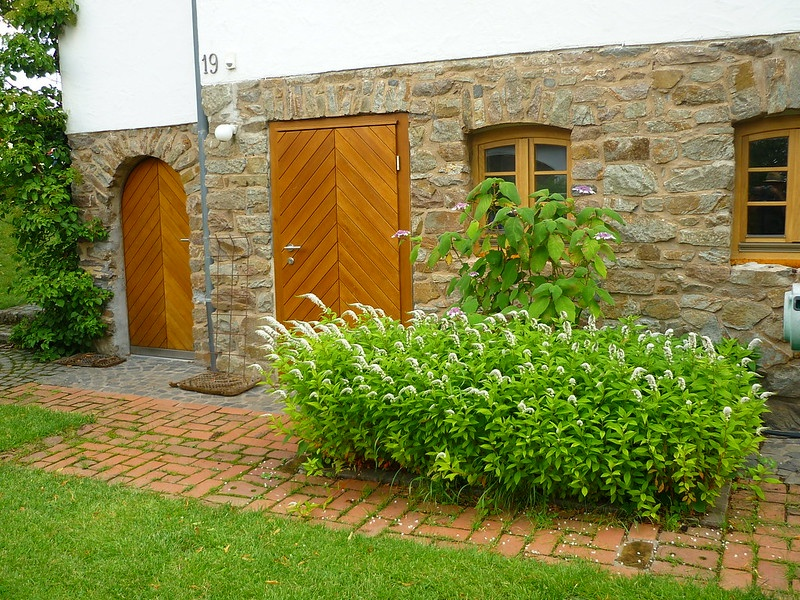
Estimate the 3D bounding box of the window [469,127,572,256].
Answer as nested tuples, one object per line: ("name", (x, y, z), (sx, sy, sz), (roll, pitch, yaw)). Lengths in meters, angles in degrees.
("window", (1.141, -1.001, 5.449), (1.257, 1.145, 0.104), (2, 4, 19))
